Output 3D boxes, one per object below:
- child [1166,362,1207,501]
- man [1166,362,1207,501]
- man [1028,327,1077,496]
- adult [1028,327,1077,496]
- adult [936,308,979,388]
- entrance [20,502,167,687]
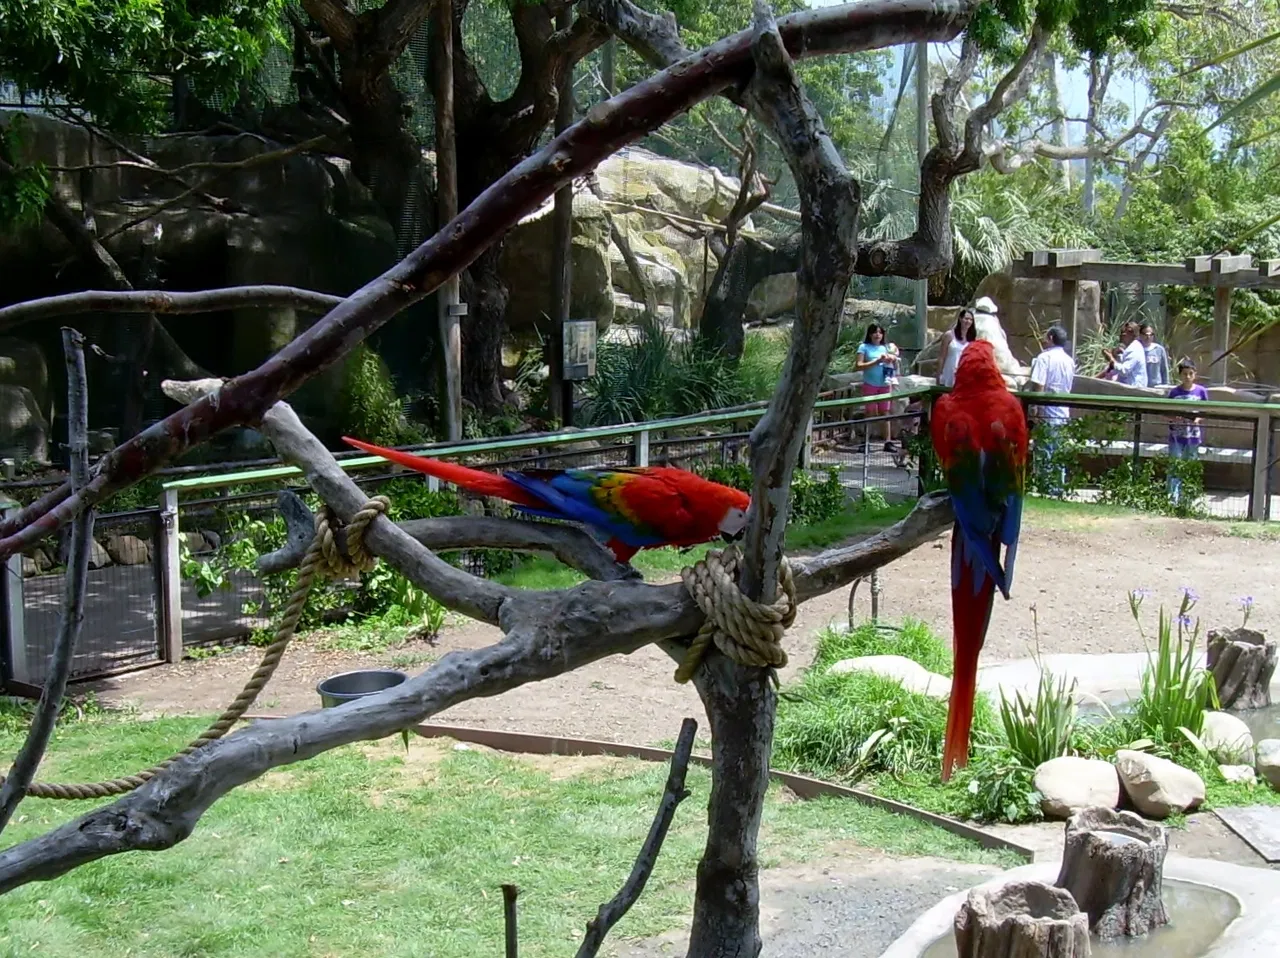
[{"bbox_3d":[5.637,-0.515,15.021,0.453,1.253,1.127,-8,8,22],"label":"child"},{"bbox_3d":[5.640,-0.515,15.017,0.424,1.253,1.131,-8,8,24],"label":"man"},{"bbox_3d":[4.433,-0.747,15.586,0.483,1.713,0.958,-8,7,20],"label":"man"},{"bbox_3d":[4.431,-0.745,15.580,0.476,1.713,0.944,-8,7,21],"label":"adult"},{"bbox_3d":[3.282,-1.158,14.897,0.384,1.104,0.285,4,-19,18],"label":"adult"},{"bbox_3d":[-3.334,0.763,8.905,0.968,1.104,0.126,-11,26,-38],"label":"entrance"}]
